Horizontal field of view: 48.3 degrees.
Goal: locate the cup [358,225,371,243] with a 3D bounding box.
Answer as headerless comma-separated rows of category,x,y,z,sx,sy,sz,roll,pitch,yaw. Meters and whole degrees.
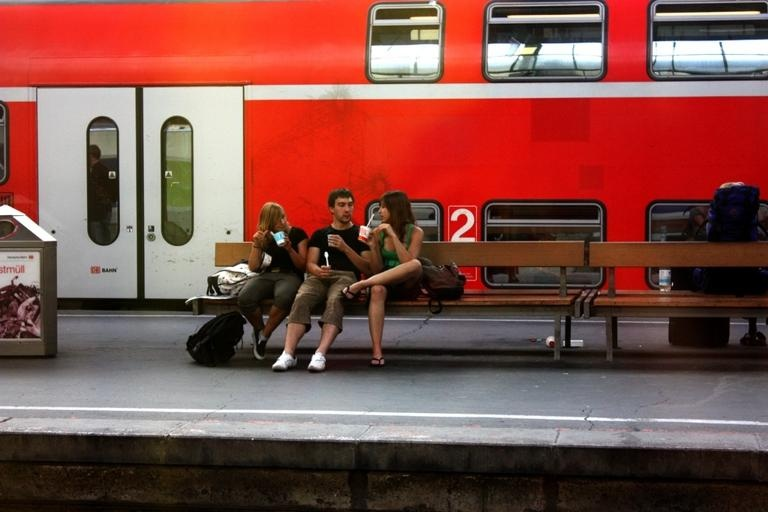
cup,-0.271,-0.258,9.768,0.155,0.172,0.178,7,-14,16

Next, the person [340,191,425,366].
person,0.025,0.237,10.022,0.963,1.997,0.610,-1,4,-22

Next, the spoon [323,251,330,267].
spoon,-0.693,0.040,10.229,0.058,0.202,0.030,-3,-14,-4

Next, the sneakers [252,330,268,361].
sneakers,-1.492,1.044,10.135,0.140,0.386,0.172,-8,2,-44

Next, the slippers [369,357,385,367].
slippers,-0.079,1.206,9.823,0.160,0.122,0.223,0,4,3

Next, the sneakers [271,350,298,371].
sneakers,-1.108,1.172,9.629,0.166,0.212,0.376,3,5,41

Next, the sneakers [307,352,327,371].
sneakers,-0.764,1.174,9.528,0.174,0.205,0.149,0,4,-9

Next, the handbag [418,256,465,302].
handbag,0.691,0.313,10.075,0.504,0.406,0.253,0,3,2

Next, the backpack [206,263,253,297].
backpack,-1.882,0.292,10.368,0.499,0.241,0.383,-13,3,-21

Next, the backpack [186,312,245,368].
backpack,-1.971,0.943,9.958,0.622,0.556,0.171,-1,4,-12
